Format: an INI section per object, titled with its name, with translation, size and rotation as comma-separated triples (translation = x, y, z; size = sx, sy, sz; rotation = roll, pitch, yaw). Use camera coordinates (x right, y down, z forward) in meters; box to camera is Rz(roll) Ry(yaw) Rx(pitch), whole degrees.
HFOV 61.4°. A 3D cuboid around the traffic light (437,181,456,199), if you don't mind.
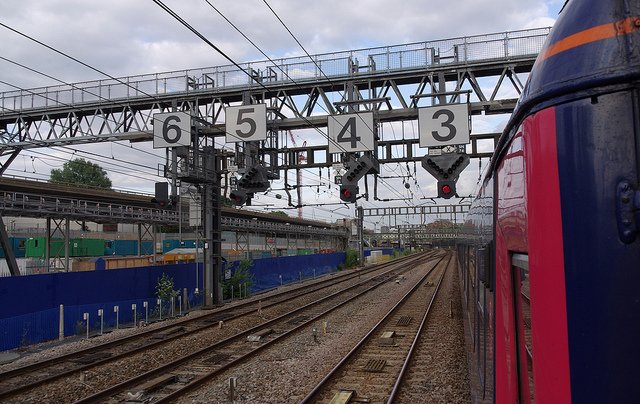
[traffic light]
translation = 4.798, -0.433, 20.435
size = 0.611, 0.648, 0.538
rotation = 0, 0, 16
